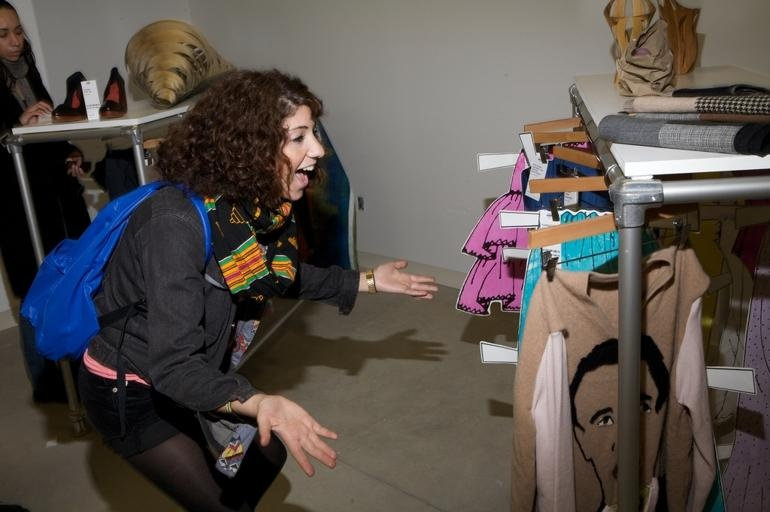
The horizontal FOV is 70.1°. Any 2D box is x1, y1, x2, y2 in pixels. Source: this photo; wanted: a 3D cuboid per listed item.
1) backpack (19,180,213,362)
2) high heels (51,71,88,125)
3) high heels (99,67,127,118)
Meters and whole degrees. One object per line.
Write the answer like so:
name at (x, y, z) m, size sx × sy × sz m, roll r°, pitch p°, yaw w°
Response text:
backpack at (-0.954, -0.039, 2.007) m, size 0.726 × 0.713 × 0.470 m, roll 4°, pitch 26°, yaw -28°
high heels at (-1.615, -0.807, 2.812) m, size 0.118 × 0.241 × 0.240 m, roll 3°, pitch 20°, yaw 8°
high heels at (-1.382, -0.847, 2.859) m, size 0.121 × 0.168 × 0.390 m, roll -4°, pitch 29°, yaw -12°
